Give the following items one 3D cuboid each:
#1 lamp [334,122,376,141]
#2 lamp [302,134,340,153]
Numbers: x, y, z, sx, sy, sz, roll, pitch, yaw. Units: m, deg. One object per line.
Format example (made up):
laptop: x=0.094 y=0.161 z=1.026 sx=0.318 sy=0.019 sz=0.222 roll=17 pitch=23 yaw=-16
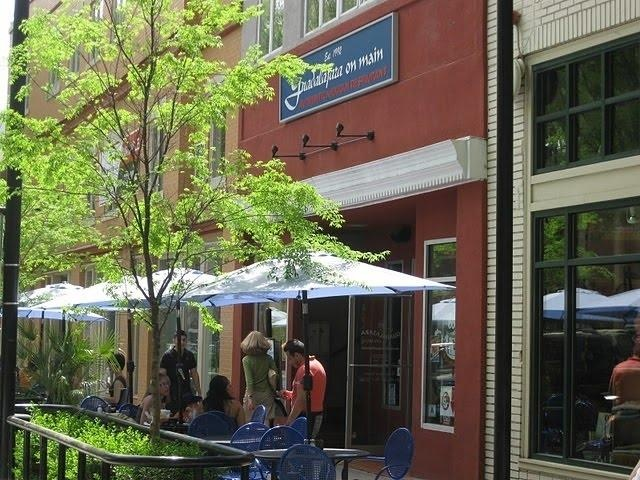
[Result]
lamp: x=0.567 y=-1.728 z=15.006 sx=0.666 sy=0.387 sz=0.294 roll=-1 pitch=-4 yaw=17
lamp: x=-0.008 y=-1.699 z=15.753 sx=0.494 sy=0.310 sz=0.351 roll=0 pitch=-2 yaw=17
